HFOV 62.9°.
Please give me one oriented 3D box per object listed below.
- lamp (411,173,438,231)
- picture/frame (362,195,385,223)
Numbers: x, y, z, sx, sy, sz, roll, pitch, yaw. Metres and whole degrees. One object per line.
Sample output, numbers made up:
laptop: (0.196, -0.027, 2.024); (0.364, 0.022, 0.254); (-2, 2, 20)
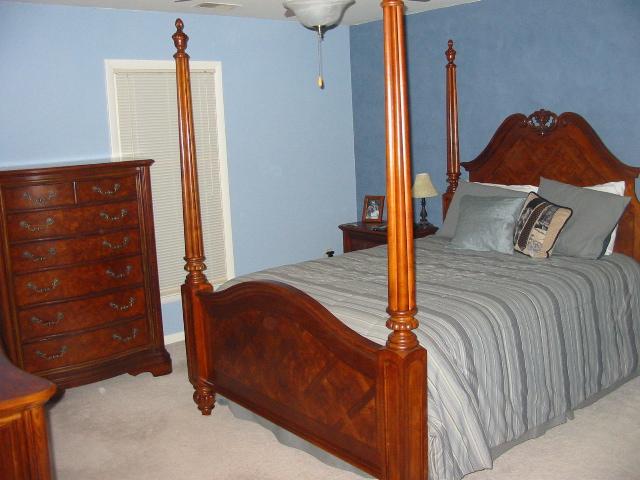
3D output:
lamp: (1.039, -0.402, 5.232); (0.314, 0.498, 0.302); (-13, 13, -38)
picture/frame: (0.605, -0.342, 5.784); (0.296, 0.345, 0.035); (7, 1, 42)
